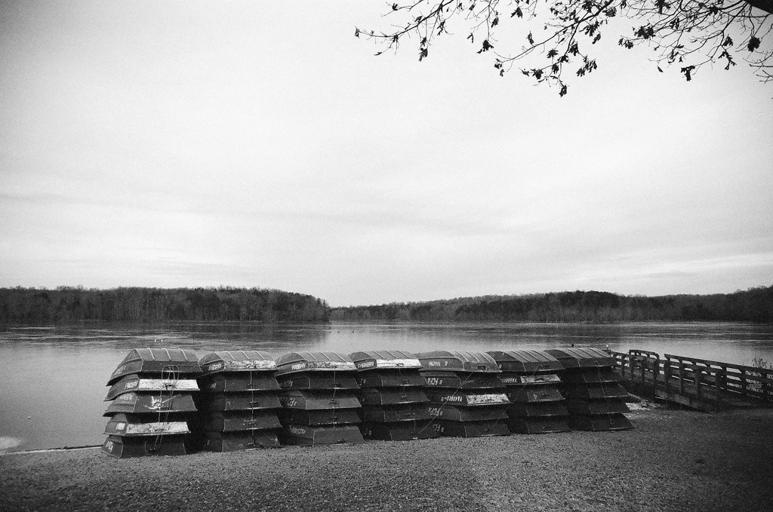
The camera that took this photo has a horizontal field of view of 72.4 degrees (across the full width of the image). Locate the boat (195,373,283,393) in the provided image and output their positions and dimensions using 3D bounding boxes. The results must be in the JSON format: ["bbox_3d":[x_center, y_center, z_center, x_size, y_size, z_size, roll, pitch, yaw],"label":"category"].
[{"bbox_3d":[-4.637,3.962,16.488,2.511,0.642,0.768,1,-5,5],"label":"boat"}]

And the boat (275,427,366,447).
[{"bbox_3d":[-2.040,5.631,16.456,2.505,0.587,0.624,2,-5,0],"label":"boat"}]

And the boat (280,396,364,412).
[{"bbox_3d":[-2.067,4.685,16.839,2.272,0.430,0.592,2,-5,-9],"label":"boat"}]

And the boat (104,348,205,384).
[{"bbox_3d":[-7.396,3.548,17.357,2.823,1.034,3.959,7,-12,-29],"label":"boat"}]
